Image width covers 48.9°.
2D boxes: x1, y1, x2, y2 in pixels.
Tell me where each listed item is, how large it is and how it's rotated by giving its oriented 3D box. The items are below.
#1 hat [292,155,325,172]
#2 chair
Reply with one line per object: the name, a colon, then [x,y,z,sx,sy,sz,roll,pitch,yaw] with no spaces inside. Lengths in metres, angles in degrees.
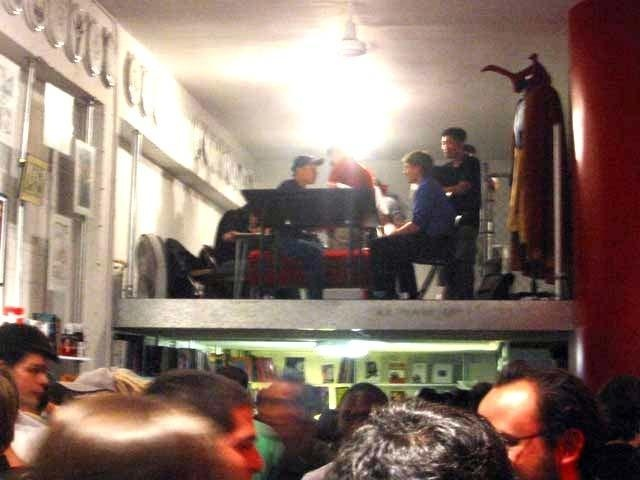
hat: [-0.113,-0.746,6.783,0.284,0.083,0.170,-12,2,-10]
chair: [1.115,0.147,5.661,0.684,0.886,0.658,1,-4,13]
